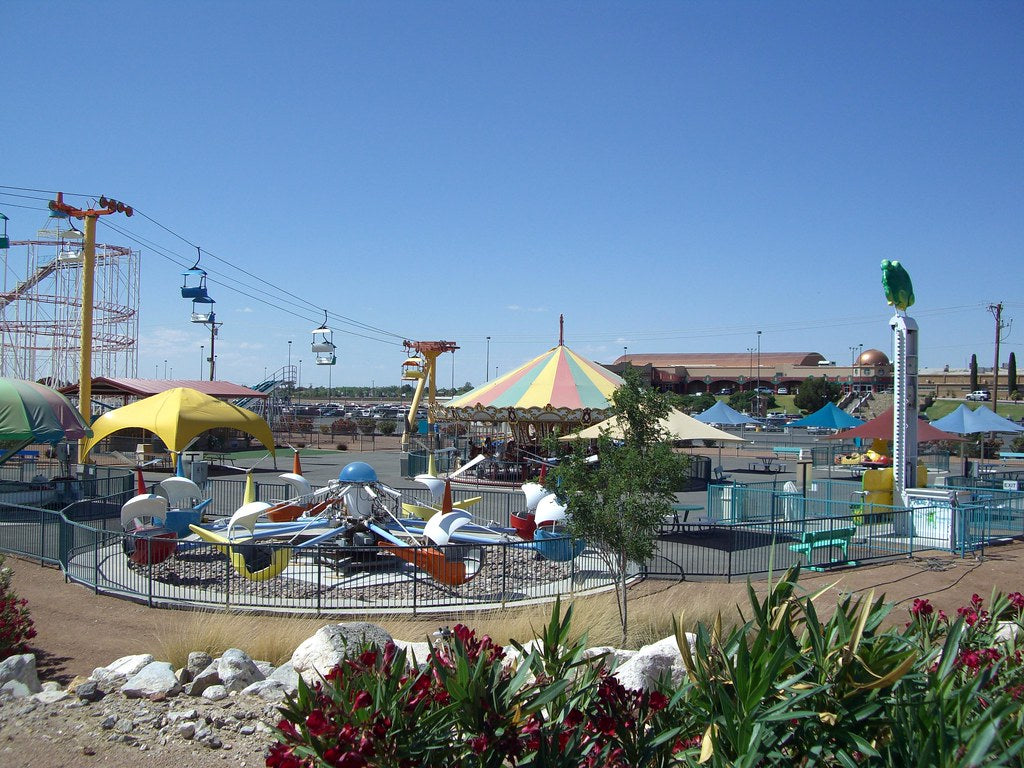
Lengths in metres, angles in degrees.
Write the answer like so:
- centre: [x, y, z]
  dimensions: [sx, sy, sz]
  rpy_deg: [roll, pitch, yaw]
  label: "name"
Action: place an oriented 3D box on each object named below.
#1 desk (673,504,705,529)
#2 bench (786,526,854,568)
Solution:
- centre: [4.195, 3.050, 30.686]
  dimensions: [1.099, 0.624, 1.051]
  rpy_deg: [-1, 0, 6]
  label: "desk"
- centre: [6.119, 3.092, 25.143]
  dimensions: [0.596, 0.858, 1.922]
  rpy_deg: [1, 8, 36]
  label: "bench"
